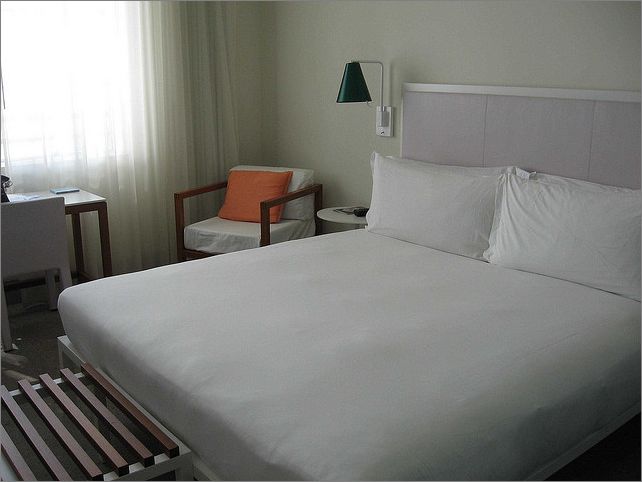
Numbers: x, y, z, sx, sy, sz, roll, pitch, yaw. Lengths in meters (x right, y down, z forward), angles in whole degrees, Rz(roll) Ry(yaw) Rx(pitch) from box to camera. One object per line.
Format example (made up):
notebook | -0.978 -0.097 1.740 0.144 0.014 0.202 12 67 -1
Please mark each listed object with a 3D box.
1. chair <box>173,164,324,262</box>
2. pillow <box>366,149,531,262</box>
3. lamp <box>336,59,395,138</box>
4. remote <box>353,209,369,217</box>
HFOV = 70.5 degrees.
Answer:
chair | -0.681 -0.205 4.180 0.934 1.168 1.019 7 12 33
pillow | 0.833 -0.214 2.915 0.660 0.436 0.179 13 2 41
lamp | 0.344 -1.124 3.641 0.403 0.643 0.275 -7 22 -10
remote | 0.327 -0.245 3.745 0.076 0.032 0.076 -17 24 -39
